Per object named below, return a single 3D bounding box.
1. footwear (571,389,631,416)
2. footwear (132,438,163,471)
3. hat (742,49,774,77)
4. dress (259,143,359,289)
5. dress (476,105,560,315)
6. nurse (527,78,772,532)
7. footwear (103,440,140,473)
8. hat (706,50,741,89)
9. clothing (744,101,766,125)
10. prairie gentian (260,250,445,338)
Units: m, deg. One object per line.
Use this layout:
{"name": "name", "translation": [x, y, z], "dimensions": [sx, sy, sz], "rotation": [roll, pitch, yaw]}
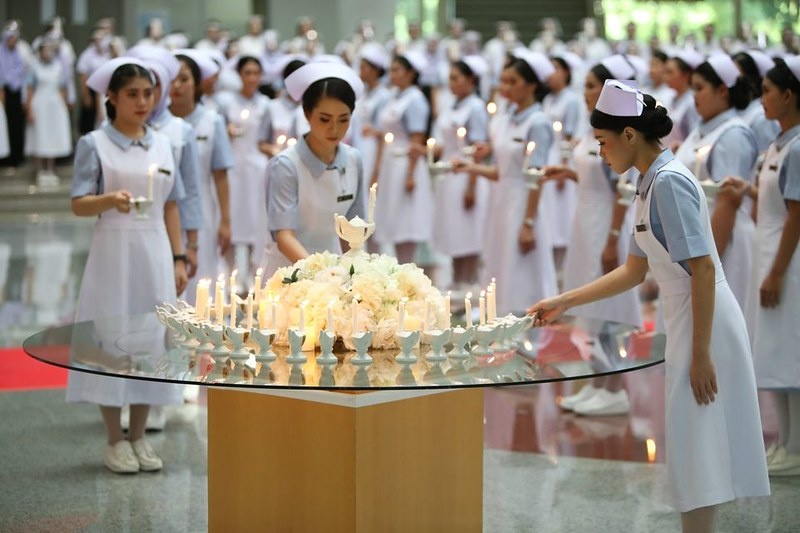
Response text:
{"name": "footwear", "translation": [1.205, 0.795, 5.930], "dimensions": [0.327, 0.145, 0.141], "rotation": [-2, -4, -30]}
{"name": "footwear", "translation": [-1.362, 0.992, 5.376], "dimensions": [0.090, 0.106, 0.233], "rotation": [-7, 29, -34]}
{"name": "hat", "translation": [2.117, -1.211, 5.905], "dimensions": [0.151, 0.133, 0.367], "rotation": [5, 16, 18]}
{"name": "dress", "translation": [-0.416, -0.345, 5.283], "dimensions": [0.351, 0.790, 0.677], "rotation": [-4, 30, -12]}
{"name": "dress", "translation": [1.427, -0.759, 8.723], "dimensions": [0.527, 1.983, 0.581], "rotation": [-8, 9, -10]}
{"name": "nurse", "translation": [1.100, 0.193, 4.647], "dimensions": [0.638, 2.225, 1.119], "rotation": [2, 3, 14]}
{"name": "footwear", "translation": [-1.469, 1.004, 5.289], "dimensions": [0.110, 0.100, 0.200], "rotation": [-5, 9, -34]}
{"name": "hat", "translation": [1.850, -1.121, 5.789], "dimensions": [0.145, 0.212, 0.151], "rotation": [-21, 5, 7]}
{"name": "clothing", "translation": [2.119, -0.919, 5.976], "dimensions": [0.123, 0.188, 0.182], "rotation": [6, 10, 10]}
{"name": "prairie gentian", "translation": [-0.205, 0.134, 4.386], "dimensions": [0.687, 0.395, 0.583], "rotation": [-9, -19, 10]}
